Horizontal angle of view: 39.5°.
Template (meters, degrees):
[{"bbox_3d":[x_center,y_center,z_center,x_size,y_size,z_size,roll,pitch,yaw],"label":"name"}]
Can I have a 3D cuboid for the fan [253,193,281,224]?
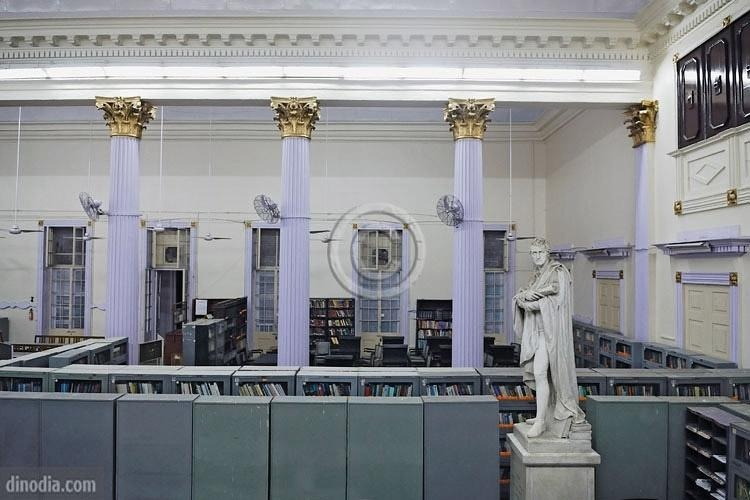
[{"bbox_3d":[-2.395,-0.936,23.468,0.594,0.599,0.719,-2,-4,3],"label":"fan"}]

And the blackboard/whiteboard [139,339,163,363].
[{"bbox_3d":[-5.045,2.259,23.255,0.675,0.684,0.421,1,-3,-18],"label":"blackboard/whiteboard"}]

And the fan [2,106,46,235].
[{"bbox_3d":[-9.642,-2.007,28.180,0.853,3.215,1.131,3,-6,-42],"label":"fan"}]

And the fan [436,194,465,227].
[{"bbox_3d":[1.857,-0.854,23.409,0.654,0.680,0.245,7,22,35],"label":"fan"}]

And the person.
[{"bbox_3d":[3.512,1.725,20.380,1.210,3.868,0.503,-2,-5,12],"label":"person"}]

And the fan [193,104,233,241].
[{"bbox_3d":[-4.375,-1.847,28.170,0.853,3.245,0.665,-1,-4,-6],"label":"fan"}]

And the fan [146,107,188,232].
[{"bbox_3d":[-5.753,-2.082,28.168,1.041,3.009,1.112,-4,-5,35],"label":"fan"}]

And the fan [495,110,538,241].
[{"bbox_3d":[3.969,-1.885,28.243,0.754,3.310,0.852,-2,-4,6],"label":"fan"}]
